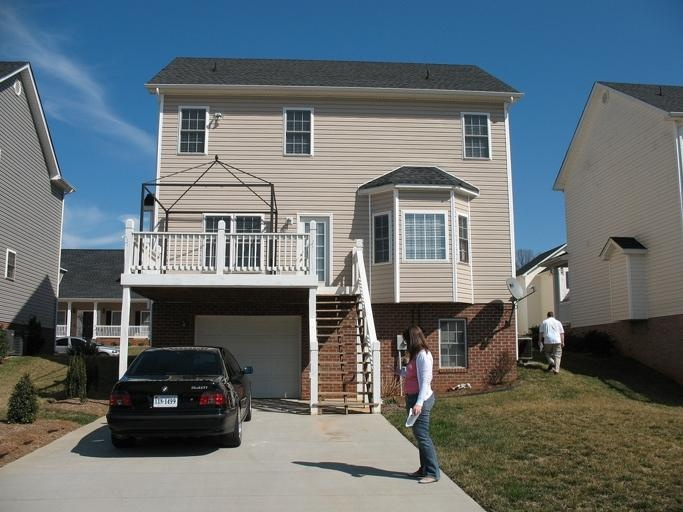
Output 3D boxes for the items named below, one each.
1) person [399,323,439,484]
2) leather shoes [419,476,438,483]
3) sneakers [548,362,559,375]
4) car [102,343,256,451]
[{"bbox_3d":[1.396,2.587,11.731,0.694,2.707,0.961,0,2,8],"label":"person"},{"bbox_3d":[1.533,3.897,11.634,0.318,0.144,0.130,4,-8,5],"label":"leather shoes"},{"bbox_3d":[6.699,3.552,20.996,0.141,0.171,0.437,3,-33,12],"label":"sneakers"},{"bbox_3d":[-3.211,2.922,13.404,2.880,2.031,2.113,-1,2,-28],"label":"car"}]
